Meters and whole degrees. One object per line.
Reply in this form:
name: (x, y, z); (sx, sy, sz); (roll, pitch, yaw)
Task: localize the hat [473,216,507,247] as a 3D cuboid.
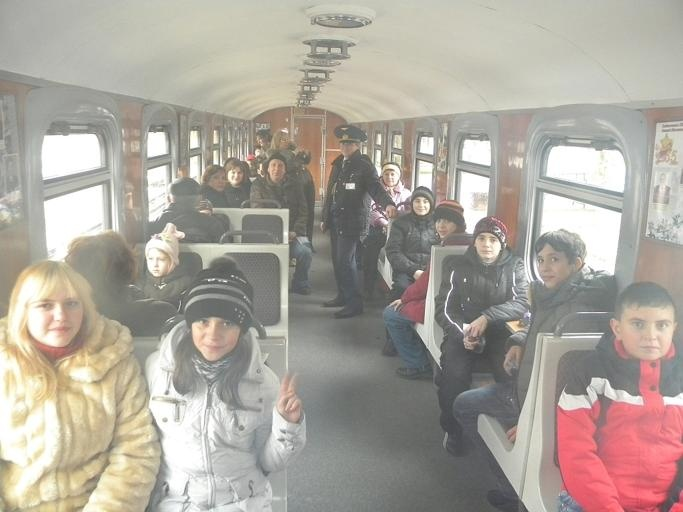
hat: (1.328, -0.234, 5.005); (0.214, 0.257, 0.290); (9, 8, 4)

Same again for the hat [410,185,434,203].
hat: (1.007, -0.787, 7.000); (0.194, 0.200, 0.244); (2, 2, 0)

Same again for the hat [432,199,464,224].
hat: (1.183, -0.478, 6.178); (0.262, 0.214, 0.269); (21, -9, -2)

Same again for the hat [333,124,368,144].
hat: (0.140, -1.651, 7.499); (0.329, 0.151, 0.338); (6, 6, 30)

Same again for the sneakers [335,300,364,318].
sneakers: (0.097, 0.747, 7.518); (0.437, 0.198, 0.156); (-1, 5, -13)

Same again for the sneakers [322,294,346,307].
sneakers: (-0.140, 0.661, 7.974); (0.380, 0.253, 0.131); (5, -13, 0)

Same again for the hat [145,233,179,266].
hat: (-1.473, -0.059, 4.471); (0.220, 0.243, 0.250); (2, 5, 5)
